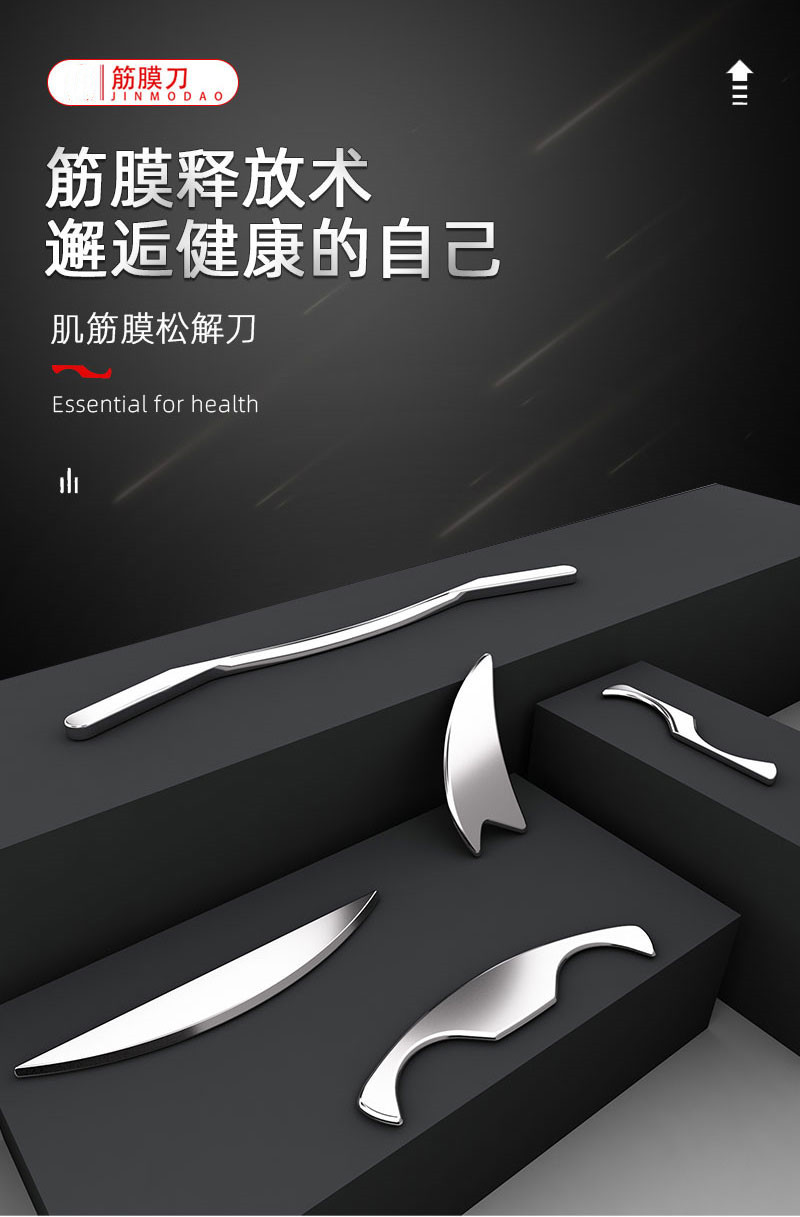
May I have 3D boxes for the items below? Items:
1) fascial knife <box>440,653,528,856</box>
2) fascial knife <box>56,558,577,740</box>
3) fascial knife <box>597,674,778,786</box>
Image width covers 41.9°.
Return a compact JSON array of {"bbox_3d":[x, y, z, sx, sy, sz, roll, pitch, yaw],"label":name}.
[{"bbox_3d":[0.074,0.127,0.903,0.071,0.194,0.012,3,24,11],"label":"fascial knife"},{"bbox_3d":[-0.116,0.039,1.159,0.822,0.037,0.109,-11,30,-25],"label":"fascial knife"},{"bbox_3d":[0.253,0.107,0.919,0.044,0.007,0.190,-18,27,-27],"label":"fascial knife"}]
